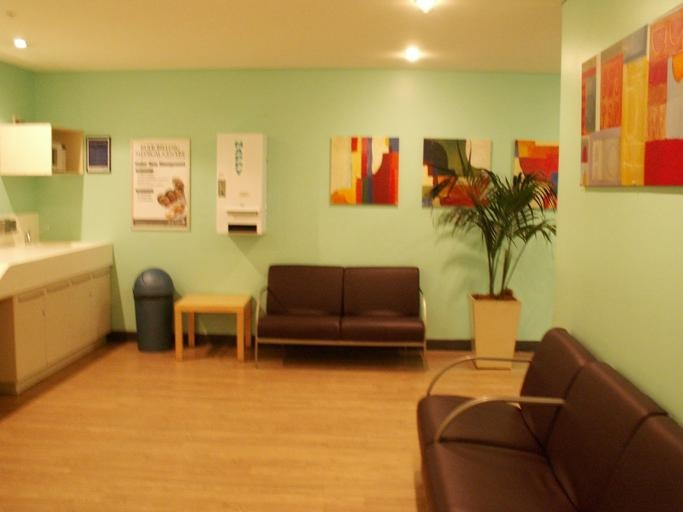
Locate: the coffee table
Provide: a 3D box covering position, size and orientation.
[{"bbox_3d":[-1.527,0.804,6.250,0.722,0.690,0.805,0,-1,-2],"label":"coffee table"}]

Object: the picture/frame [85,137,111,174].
[{"bbox_3d":[-3.080,-1.299,6.547,0.366,0.586,0.057,2,4,6],"label":"picture/frame"}]

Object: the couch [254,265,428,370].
[{"bbox_3d":[0.018,0.704,6.129,1.946,1.097,0.978,1,6,6],"label":"couch"}]

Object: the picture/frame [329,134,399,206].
[{"bbox_3d":[0.309,-1.100,6.377,0.724,0.832,0.036,1,8,4],"label":"picture/frame"}]

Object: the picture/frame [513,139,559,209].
[{"bbox_3d":[2.409,-0.998,6.325,0.554,0.859,0.099,2,-12,6],"label":"picture/frame"}]

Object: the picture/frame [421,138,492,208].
[{"bbox_3d":[1.439,-1.046,6.289,0.776,0.887,0.036,0,2,-4],"label":"picture/frame"}]

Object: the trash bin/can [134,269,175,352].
[{"bbox_3d":[-2.287,0.674,6.345,0.448,0.994,0.274,-5,12,-25],"label":"trash bin/can"}]
